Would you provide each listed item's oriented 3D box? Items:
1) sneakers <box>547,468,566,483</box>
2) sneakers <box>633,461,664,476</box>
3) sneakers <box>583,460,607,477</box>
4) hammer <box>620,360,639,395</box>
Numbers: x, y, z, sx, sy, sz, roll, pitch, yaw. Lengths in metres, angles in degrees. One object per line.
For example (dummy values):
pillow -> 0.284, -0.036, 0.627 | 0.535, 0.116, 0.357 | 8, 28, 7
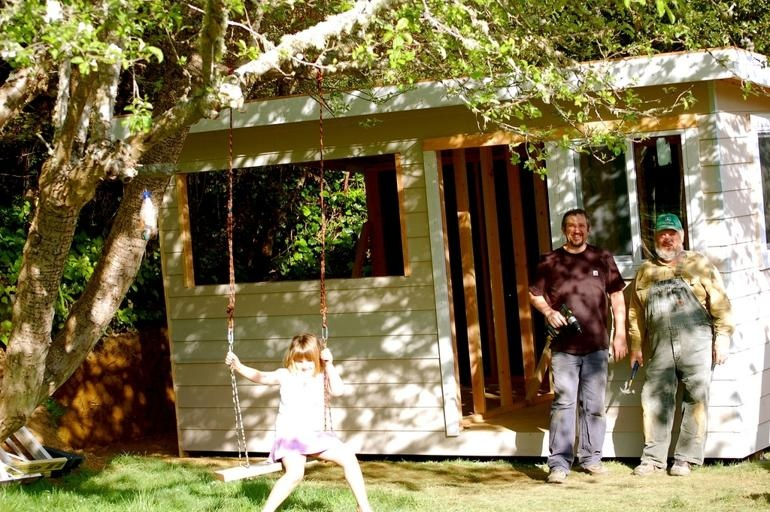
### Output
sneakers -> 1.801, 2.284, 9.059 | 0.205, 0.145, 0.126 | -3, -5, 11
sneakers -> 2.761, 2.187, 9.089 | 0.287, 0.131, 0.135 | -8, 8, -24
sneakers -> 2.226, 2.247, 9.195 | 0.214, 0.102, 0.120 | -2, 3, 44
hammer -> 2.668, 1.330, 9.381 | 0.127, 0.414, 0.103 | 24, 14, 12
